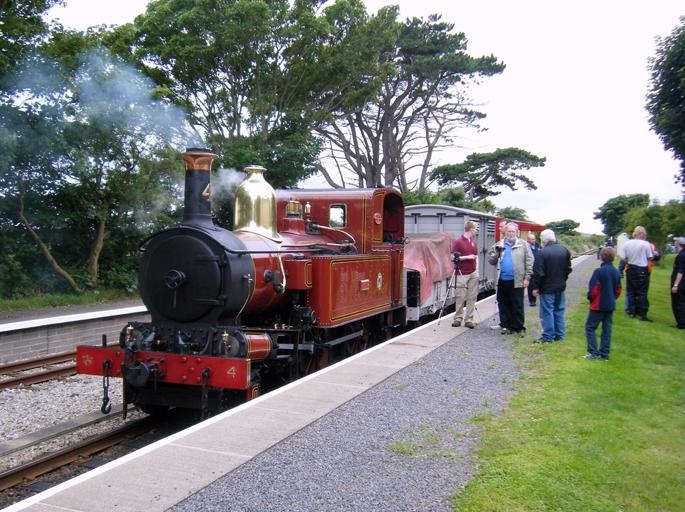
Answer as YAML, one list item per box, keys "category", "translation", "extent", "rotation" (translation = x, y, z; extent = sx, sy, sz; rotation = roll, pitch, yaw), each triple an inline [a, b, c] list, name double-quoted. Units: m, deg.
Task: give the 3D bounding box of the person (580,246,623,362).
- category: "person"
  translation: [4.287, 0.771, 8.203]
  extent: [0.435, 1.824, 0.578]
  rotation: [5, 9, 28]

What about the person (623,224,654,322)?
- category: "person"
  translation: [7.123, 0.410, 12.032]
  extent: [0.648, 2.236, 1.206]
  rotation: [6, 9, 31]

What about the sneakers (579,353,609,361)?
- category: "sneakers"
  translation: [4.151, 1.635, 8.219]
  extent: [0.448, 0.185, 0.153]
  rotation: [4, 1, 10]

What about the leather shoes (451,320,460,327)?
- category: "leather shoes"
  translation: [2.481, 1.477, 10.855]
  extent: [0.109, 0.118, 0.282]
  rotation: [-2, -8, 18]

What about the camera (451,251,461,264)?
- category: "camera"
  translation: [2.353, 0.035, 10.267]
  extent: [0.148, 0.201, 0.203]
  rotation: [0, 1, 3]

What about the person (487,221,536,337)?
- category: "person"
  translation: [3.363, 0.438, 9.857]
  extent: [0.832, 2.166, 0.742]
  rotation: [0, -9, 17]
